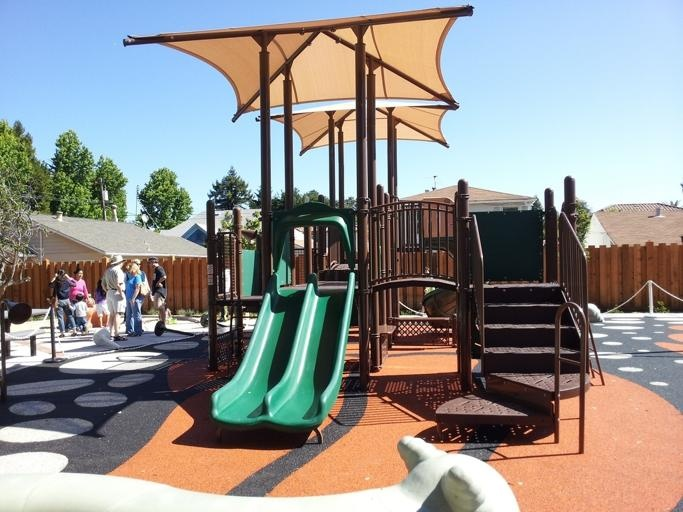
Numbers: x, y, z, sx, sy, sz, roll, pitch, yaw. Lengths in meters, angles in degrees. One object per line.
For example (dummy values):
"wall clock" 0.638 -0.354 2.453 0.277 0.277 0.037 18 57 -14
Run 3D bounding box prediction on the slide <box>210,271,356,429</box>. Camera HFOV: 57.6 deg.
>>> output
"slide" -0.636 1.191 8.346 1.359 1.083 2.863 -1 18 10

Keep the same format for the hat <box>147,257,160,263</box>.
"hat" -4.972 0.105 16.442 0.173 0.141 0.250 1 6 -28

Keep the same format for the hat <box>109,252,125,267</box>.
"hat" -6.237 0.092 17.240 0.402 0.198 0.485 -11 5 1
